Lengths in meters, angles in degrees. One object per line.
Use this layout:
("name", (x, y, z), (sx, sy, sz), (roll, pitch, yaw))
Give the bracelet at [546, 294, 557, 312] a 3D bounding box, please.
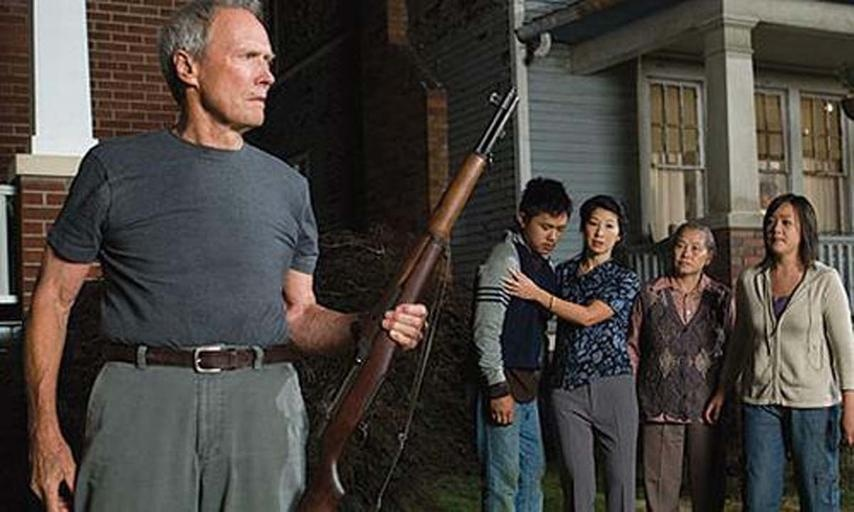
("bracelet", (0.869, 0.336, 6.841), (0.024, 0.097, 0.091), (9, 4, -19))
